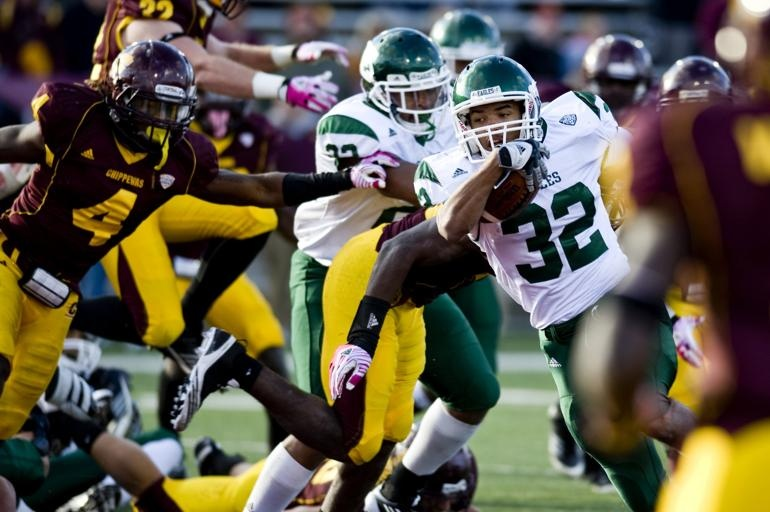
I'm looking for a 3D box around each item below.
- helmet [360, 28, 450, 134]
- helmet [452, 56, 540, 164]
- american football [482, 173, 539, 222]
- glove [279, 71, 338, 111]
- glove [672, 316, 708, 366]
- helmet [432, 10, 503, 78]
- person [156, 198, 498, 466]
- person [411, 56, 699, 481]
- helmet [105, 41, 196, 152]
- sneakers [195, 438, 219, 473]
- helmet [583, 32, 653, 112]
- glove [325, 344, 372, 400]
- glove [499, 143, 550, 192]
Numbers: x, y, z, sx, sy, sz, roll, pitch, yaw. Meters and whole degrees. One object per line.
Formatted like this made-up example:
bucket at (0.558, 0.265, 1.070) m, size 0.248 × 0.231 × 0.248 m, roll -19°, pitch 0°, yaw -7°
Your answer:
helmet at (0.099, -0.823, 4.234) m, size 0.354 × 0.437 × 0.487 m, roll -18°, pitch 33°, yaw -28°
helmet at (0.434, -0.557, 3.659) m, size 0.314 × 0.408 × 0.443 m, roll -8°, pitch -5°, yaw 4°
american football at (0.459, -0.216, 3.353) m, size 0.144 × 0.191 × 0.087 m, roll 50°, pitch 5°, yaw 10°
glove at (-0.382, -0.816, 4.669) m, size 0.259 × 0.205 × 0.076 m, roll 7°, pitch -37°, yaw -5°
glove at (1.353, 0.390, 4.035) m, size 0.056 × 0.216 × 0.210 m, roll -24°, pitch -6°, yaw 9°
helmet at (0.526, -1.244, 5.631) m, size 0.374 × 0.443 × 0.492 m, roll 1°, pitch 6°, yaw 1°
person at (-0.143, 0.239, 3.961) m, size 0.983 × 1.445 × 0.938 m, roll 15°, pitch 1°, yaw 17°
person at (0.545, -0.036, 3.627) m, size 0.821 × 1.613 × 0.335 m, roll 6°, pitch 1°, yaw 1°
helmet at (-0.946, -0.648, 3.711) m, size 0.318 × 0.393 × 0.438 m, roll 0°, pitch 37°, yaw -25°
sneakers at (-0.947, 1.047, 4.815) m, size 0.097 × 0.195 × 0.119 m, roll 4°, pitch 33°, yaw 2°
helmet at (1.538, -1.142, 6.081) m, size 0.419 × 0.537 × 0.551 m, roll 2°, pitch 5°, yaw 4°
glove at (-0.150, 0.440, 3.541) m, size 0.153 × 0.217 × 0.096 m, roll 7°, pitch -26°, yaw 38°
glove at (0.499, -0.334, 3.355) m, size 0.186 × 0.083 × 0.145 m, roll -9°, pitch -36°, yaw 37°
